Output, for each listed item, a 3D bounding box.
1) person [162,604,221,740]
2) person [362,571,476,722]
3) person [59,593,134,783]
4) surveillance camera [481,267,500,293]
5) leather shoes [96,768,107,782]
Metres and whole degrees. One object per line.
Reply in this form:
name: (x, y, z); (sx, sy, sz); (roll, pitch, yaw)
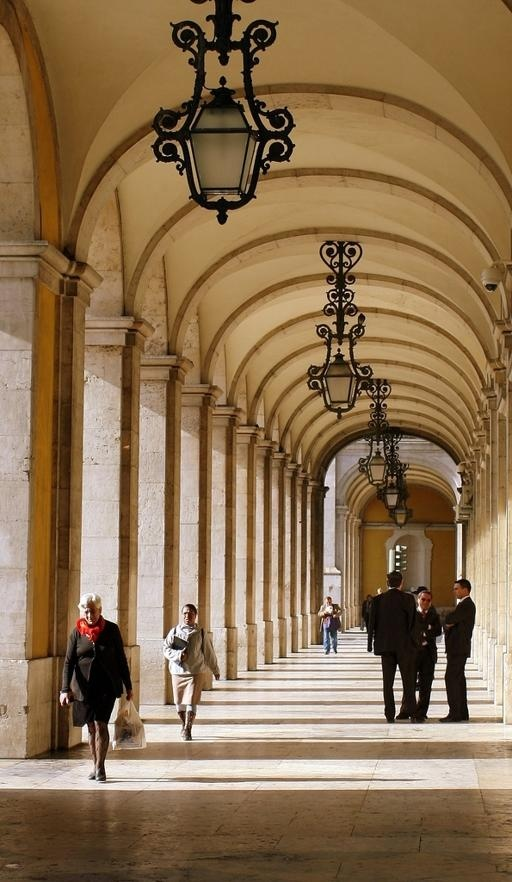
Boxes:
person: (-0.599, 2.124, 9.598); (0.467, 1.202, 0.457); (0, -11, -5)
person: (1.624, 2.224, 11.281); (0.699, 1.587, 1.559); (-3, -11, 10)
person: (-1.061, 1.630, 6.947); (0.453, 1.202, 0.430); (1, -11, -10)
surveillance camera: (2.410, -1.606, 10.594); (0.217, 0.282, 0.207); (0, 12, 4)
leather shoes: (-1.017, 2.189, 6.864); (0.074, 0.082, 0.146); (1, -12, -9)
